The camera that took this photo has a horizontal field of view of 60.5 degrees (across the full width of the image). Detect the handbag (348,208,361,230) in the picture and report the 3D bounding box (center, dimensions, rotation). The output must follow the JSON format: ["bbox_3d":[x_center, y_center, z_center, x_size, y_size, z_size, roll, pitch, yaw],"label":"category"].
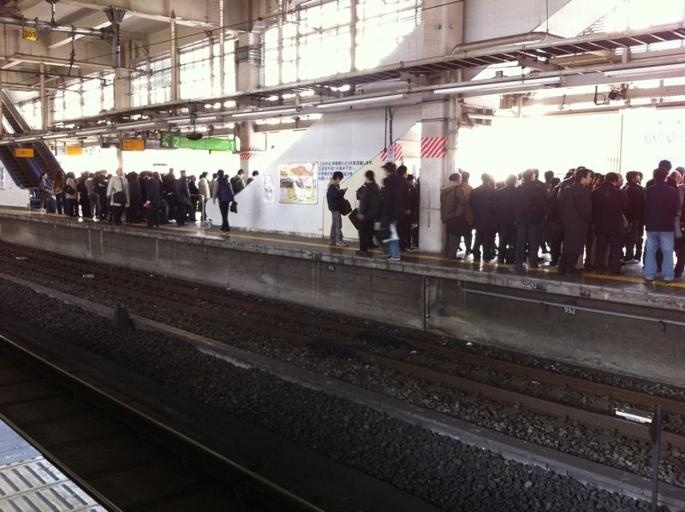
[{"bbox_3d":[0.317,-0.932,14.585,0.121,0.477,0.493,2,-29,-15],"label":"handbag"}]

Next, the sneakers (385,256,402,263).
[{"bbox_3d":[1.166,0.066,13.476,0.125,0.139,0.291,-3,2,-42],"label":"sneakers"}]

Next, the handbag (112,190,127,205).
[{"bbox_3d":[-8.186,-2.144,21.687,0.426,0.446,0.459,4,16,-1],"label":"handbag"}]

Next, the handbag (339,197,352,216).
[{"bbox_3d":[0.059,-1.292,15.735,0.325,0.682,0.478,-7,10,4],"label":"handbag"}]

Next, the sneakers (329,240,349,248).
[{"bbox_3d":[-0.088,-0.325,15.914,0.632,0.274,0.194,-2,2,42],"label":"sneakers"}]

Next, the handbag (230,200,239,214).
[{"bbox_3d":[-3.702,-1.720,20.127,0.292,0.440,0.126,-1,7,-10],"label":"handbag"}]

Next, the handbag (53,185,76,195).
[{"bbox_3d":[-11.703,-2.834,24.759,0.786,0.323,0.650,3,1,-18],"label":"handbag"}]
